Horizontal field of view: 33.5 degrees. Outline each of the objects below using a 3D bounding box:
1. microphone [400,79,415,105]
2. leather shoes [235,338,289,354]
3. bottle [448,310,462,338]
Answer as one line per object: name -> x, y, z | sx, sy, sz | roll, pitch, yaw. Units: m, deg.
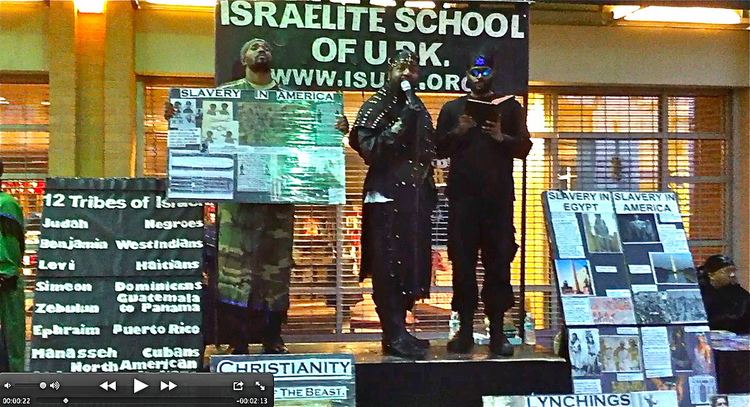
microphone -> 0.346, -1.172, 12.861 | 0.172, 0.257, 0.069 | 0, -2, -7
leather shoes -> -1.176, 1.464, 12.710 | 0.580, 0.152, 0.061 | 0, -2, -6
bottle -> 0.822, 1.277, 12.999 | 0.103, 0.228, 0.258 | 9, -29, 5
